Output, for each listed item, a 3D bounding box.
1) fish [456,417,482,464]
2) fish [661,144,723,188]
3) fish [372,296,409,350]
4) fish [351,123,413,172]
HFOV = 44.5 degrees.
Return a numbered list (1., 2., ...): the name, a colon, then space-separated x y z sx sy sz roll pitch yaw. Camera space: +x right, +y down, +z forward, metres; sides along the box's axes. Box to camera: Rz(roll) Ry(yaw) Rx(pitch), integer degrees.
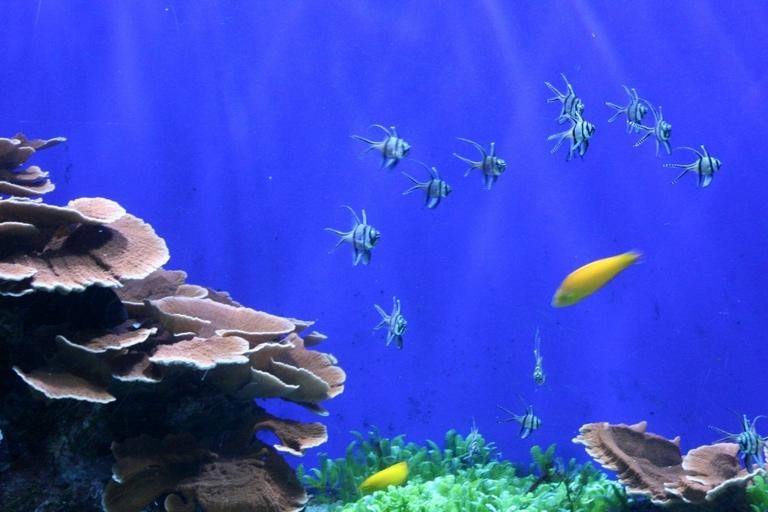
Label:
1. fish: 1.141 2.453 12.430 0.166 0.230 0.573 4 41 11
2. fish: 3.557 -1.036 10.693 0.354 0.423 0.716 31 28 8
3. fish: 0.089 0.785 10.968 0.457 0.631 0.619 1 -14 4
4. fish: 0.049 -1.201 10.479 0.419 0.403 0.405 31 29 9
